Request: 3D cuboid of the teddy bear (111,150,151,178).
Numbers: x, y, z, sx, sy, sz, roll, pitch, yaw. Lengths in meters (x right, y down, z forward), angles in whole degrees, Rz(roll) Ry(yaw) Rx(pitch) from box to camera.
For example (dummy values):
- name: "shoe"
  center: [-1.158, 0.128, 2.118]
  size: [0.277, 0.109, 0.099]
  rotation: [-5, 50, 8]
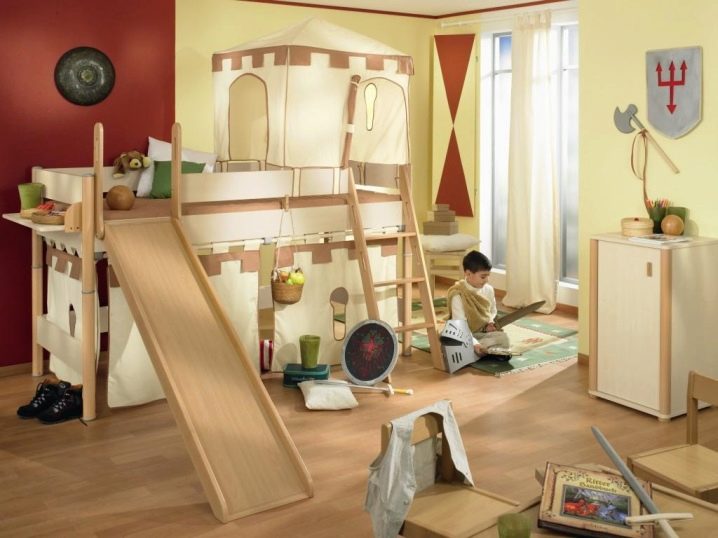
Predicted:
- name: "teddy bear"
  center: [-2.012, -0.940, 5.075]
  size: [0.249, 0.126, 0.269]
  rotation: [15, 25, 22]

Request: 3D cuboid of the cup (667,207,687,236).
- name: "cup"
  center: [2.332, -0.352, 4.298]
  size: [0.191, 0.223, 0.204]
  rotation: [1, 2, 0]

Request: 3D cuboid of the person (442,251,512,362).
- name: "person"
  center: [1.120, 0.321, 5.291]
  size: [0.581, 0.889, 0.646]
  rotation: [6, 11, 24]

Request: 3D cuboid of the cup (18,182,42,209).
- name: "cup"
  center: [-2.598, -0.578, 4.541]
  size: [0.201, 0.225, 0.199]
  rotation: [4, 11, -1]

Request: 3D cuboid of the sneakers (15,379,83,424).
- name: "sneakers"
  center: [-2.150, 0.948, 4.064]
  size: [0.258, 0.172, 0.437]
  rotation: [7, 3, 31]

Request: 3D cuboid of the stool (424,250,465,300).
- name: "stool"
  center: [1.047, 0.015, 6.924]
  size: [0.543, 0.733, 0.541]
  rotation: [-3, 10, -13]

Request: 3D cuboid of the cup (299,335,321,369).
- name: "cup"
  center: [-0.394, 0.680, 4.776]
  size: [0.216, 0.246, 0.209]
  rotation: [1, 7, 0]
